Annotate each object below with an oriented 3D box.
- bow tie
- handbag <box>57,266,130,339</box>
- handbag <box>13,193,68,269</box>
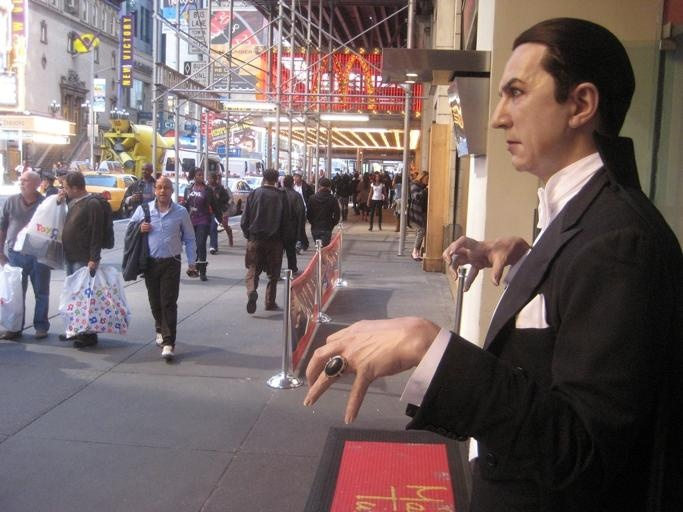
[{"bbox_3d":[0.567,-0.163,1.649,0.127,0.207,0.247,-1,7,-14],"label":"bow tie"},{"bbox_3d":[-2.963,0.573,7.520,0.756,0.935,0.418,-1,2,-7],"label":"handbag"},{"bbox_3d":[-3.766,-0.281,7.963,0.423,1.056,0.511,3,11,7],"label":"handbag"}]
